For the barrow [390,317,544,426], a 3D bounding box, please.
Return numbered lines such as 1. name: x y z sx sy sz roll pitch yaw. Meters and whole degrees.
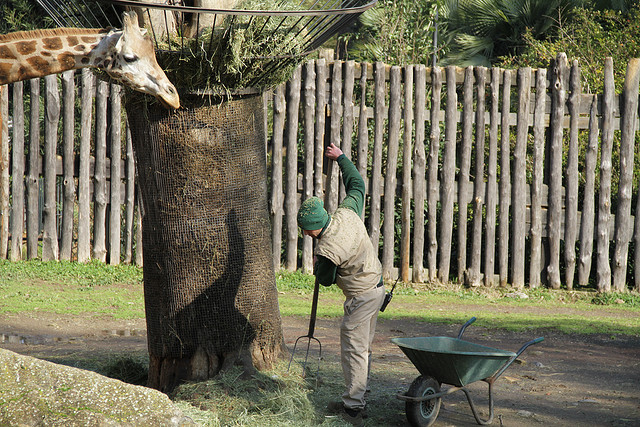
1. barrow: 2.015 2.155 17.154 1.218 1.075 1.991 3 -4 43
